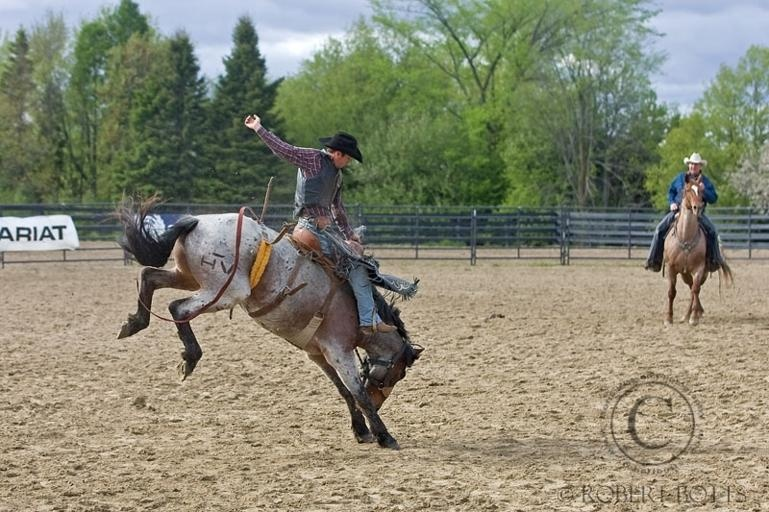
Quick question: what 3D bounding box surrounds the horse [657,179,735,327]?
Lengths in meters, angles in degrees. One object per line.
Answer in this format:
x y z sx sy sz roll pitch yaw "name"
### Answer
11.872 -0.309 58.048 1.743 5.673 1.479 4 9 11 "horse"
